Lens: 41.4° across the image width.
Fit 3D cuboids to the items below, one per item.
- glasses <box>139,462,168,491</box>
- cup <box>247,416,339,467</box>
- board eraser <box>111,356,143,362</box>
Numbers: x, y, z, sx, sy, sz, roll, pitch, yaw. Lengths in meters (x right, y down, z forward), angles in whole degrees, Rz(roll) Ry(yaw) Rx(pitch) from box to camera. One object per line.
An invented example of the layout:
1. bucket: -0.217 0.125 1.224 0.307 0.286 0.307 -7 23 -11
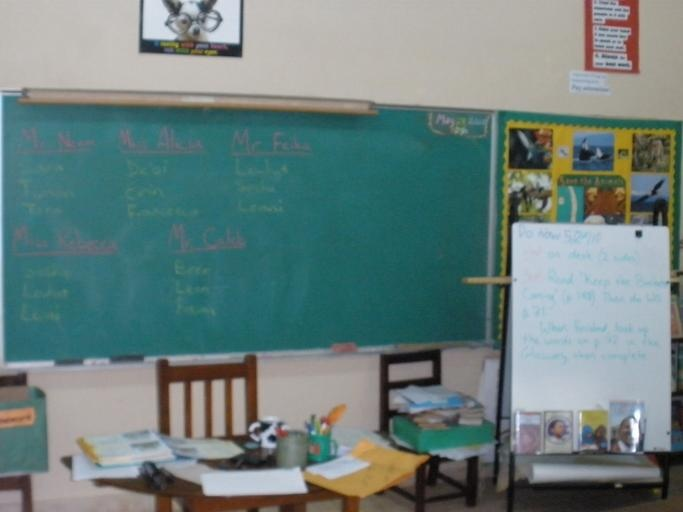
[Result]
1. glasses: -0.769 0.898 3.684 0.072 0.045 0.128 6 15 -28
2. cup: -0.216 0.796 3.942 0.317 0.209 0.192 -2 0 13
3. board eraser: -1.170 0.560 4.942 0.178 0.044 0.016 -4 4 -12
